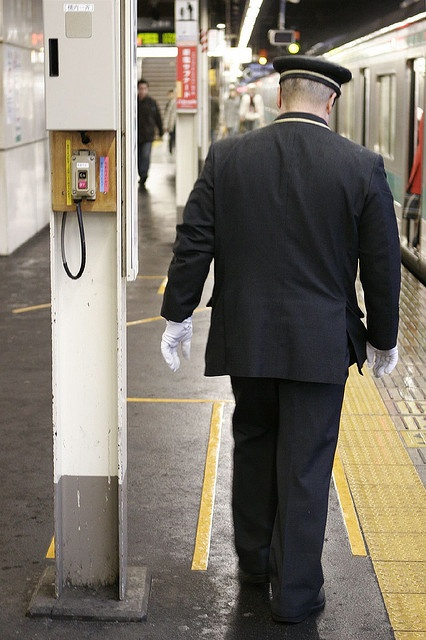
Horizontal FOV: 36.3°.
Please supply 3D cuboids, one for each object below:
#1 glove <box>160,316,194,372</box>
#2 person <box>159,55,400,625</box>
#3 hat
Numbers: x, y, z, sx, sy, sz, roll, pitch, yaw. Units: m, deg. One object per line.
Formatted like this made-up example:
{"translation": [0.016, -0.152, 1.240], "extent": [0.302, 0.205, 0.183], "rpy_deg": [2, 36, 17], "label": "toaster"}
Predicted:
{"translation": [-0.132, 0.103, 2.316], "extent": [0.107, 0.110, 0.313], "rpy_deg": [6, 32, -8], "label": "glove"}
{"translation": [0.225, 0.101, 2.188], "extent": [0.767, 1.853, 0.416], "rpy_deg": [2, 7, 23], "label": "person"}
{"translation": [0.305, -0.769, 2.027], "extent": [0.234, 0.134, 0.241], "rpy_deg": [1, 10, 5], "label": "hat"}
